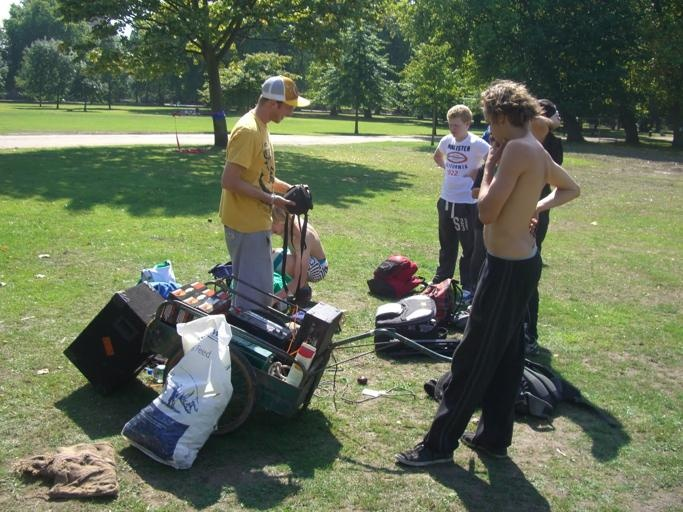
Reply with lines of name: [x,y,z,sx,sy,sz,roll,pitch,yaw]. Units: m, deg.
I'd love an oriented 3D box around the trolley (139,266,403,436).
trolley: [-1.009,0.984,6.926,1.863,1.415,1.386,18,16,13]

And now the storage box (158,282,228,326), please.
storage box: [-1.529,0.489,6.679,0.418,0.136,0.474,18,34,18]

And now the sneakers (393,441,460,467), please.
sneakers: [0.841,1.931,6.220,0.580,0.261,0.229,3,-1,-4]

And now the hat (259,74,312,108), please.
hat: [-0.571,-1.807,7.030,0.524,0.301,0.352,12,18,6]

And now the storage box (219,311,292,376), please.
storage box: [-0.858,0.846,6.570,0.529,0.547,0.523,24,37,17]

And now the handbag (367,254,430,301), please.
handbag: [0.841,0.291,9.339,0.732,0.604,0.557,-5,5,-35]

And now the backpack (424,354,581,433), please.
backpack: [1.974,1.323,7.131,1.124,0.376,0.849,10,3,28]
